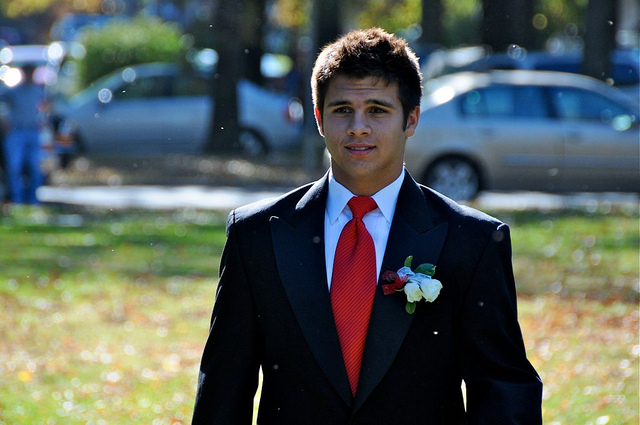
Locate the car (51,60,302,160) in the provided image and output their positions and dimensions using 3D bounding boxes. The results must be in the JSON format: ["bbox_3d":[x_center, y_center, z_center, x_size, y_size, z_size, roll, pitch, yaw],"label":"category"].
[{"bbox_3d":[-2.321,-1.916,19.639,3.649,1.419,1.694,1,-1,-8],"label":"car"}]

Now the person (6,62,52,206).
[{"bbox_3d":[-3.597,-0.984,13.907,0.507,1.576,2.306,-1,11,-14],"label":"person"}]
